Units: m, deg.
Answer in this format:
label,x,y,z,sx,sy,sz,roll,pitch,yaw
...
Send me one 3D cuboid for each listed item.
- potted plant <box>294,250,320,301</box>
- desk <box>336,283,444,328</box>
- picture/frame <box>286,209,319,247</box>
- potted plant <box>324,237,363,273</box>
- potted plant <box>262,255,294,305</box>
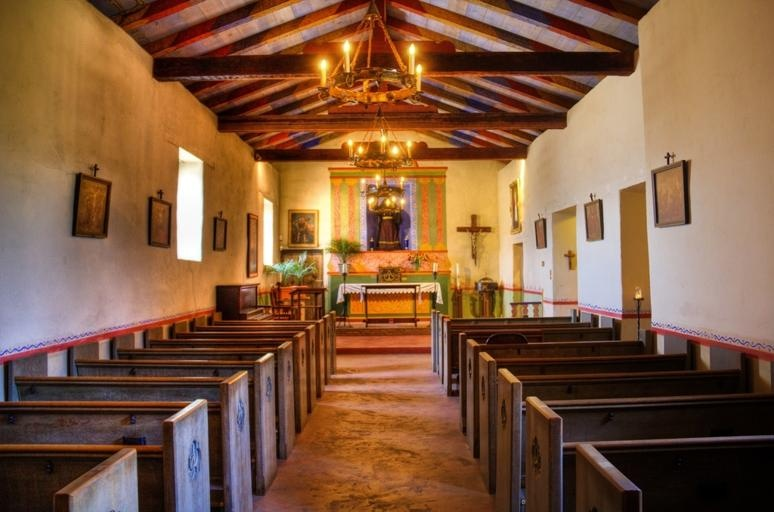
label,x,y,z,sx,sy,sz,roll,pitch,yaw
potted plant,-2.199,0.397,15.765,0.826,1.577,0.844,-1,1,2
desk,0.013,1.154,14.858,2.452,1.010,0.981,1,4,-5
picture/frame,-2.240,-0.678,16.068,0.917,1.151,0.085,0,-6,-6
potted plant,-1.130,-0.012,15.568,0.825,0.874,0.812,0,-8,1
potted plant,-2.591,0.680,14.434,0.817,1.086,0.931,-1,0,12
